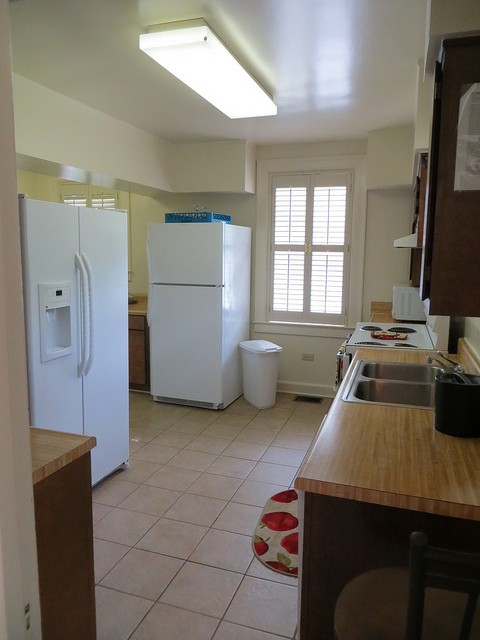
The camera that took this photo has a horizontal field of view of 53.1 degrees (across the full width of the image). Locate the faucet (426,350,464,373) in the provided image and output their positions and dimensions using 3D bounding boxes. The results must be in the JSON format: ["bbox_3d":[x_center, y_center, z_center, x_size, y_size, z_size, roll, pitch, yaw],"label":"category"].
[{"bbox_3d":[0.953,0.192,2.226,0.063,0.053,0.087,-11,19,-38],"label":"faucet"}]

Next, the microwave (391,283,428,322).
[{"bbox_3d":[1.231,-0.123,3.476,0.109,0.218,0.248,0,10,12],"label":"microwave"}]

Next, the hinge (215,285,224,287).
[{"bbox_3d":[-0.179,-0.292,4.058,0.069,0.017,0.019,0,7,-6],"label":"hinge"}]

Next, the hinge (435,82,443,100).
[{"bbox_3d":[0.488,-0.560,1.174,0.022,0.034,0.024,-4,9,-32],"label":"hinge"}]

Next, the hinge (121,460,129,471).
[{"bbox_3d":[-0.728,0.916,3.037,0.034,0.061,0.055,-2,-2,6],"label":"hinge"}]

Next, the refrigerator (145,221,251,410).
[{"bbox_3d":[-0.388,-0.045,4.323,0.914,1.615,0.567,0,6,-4],"label":"refrigerator"}]
